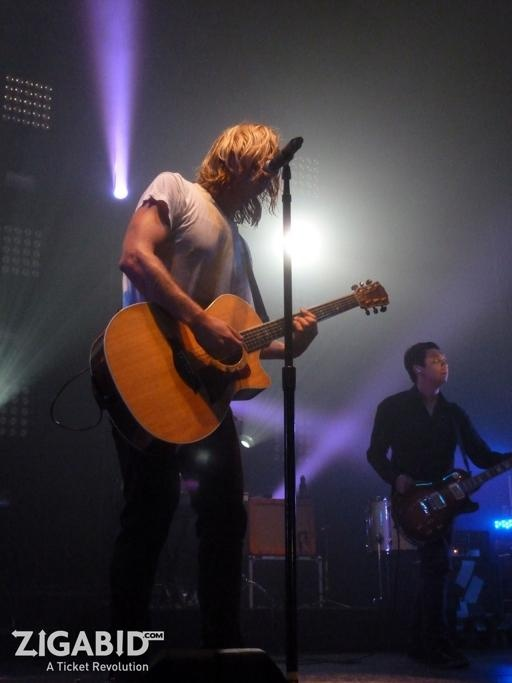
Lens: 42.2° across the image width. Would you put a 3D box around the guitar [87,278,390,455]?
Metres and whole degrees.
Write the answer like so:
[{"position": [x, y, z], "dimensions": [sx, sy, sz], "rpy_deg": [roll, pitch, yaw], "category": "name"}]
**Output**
[{"position": [-0.085, 0.076, 2.417], "dimensions": [1.036, 0.644, 0.343], "rpy_deg": [10, -14, -39], "category": "guitar"}]
